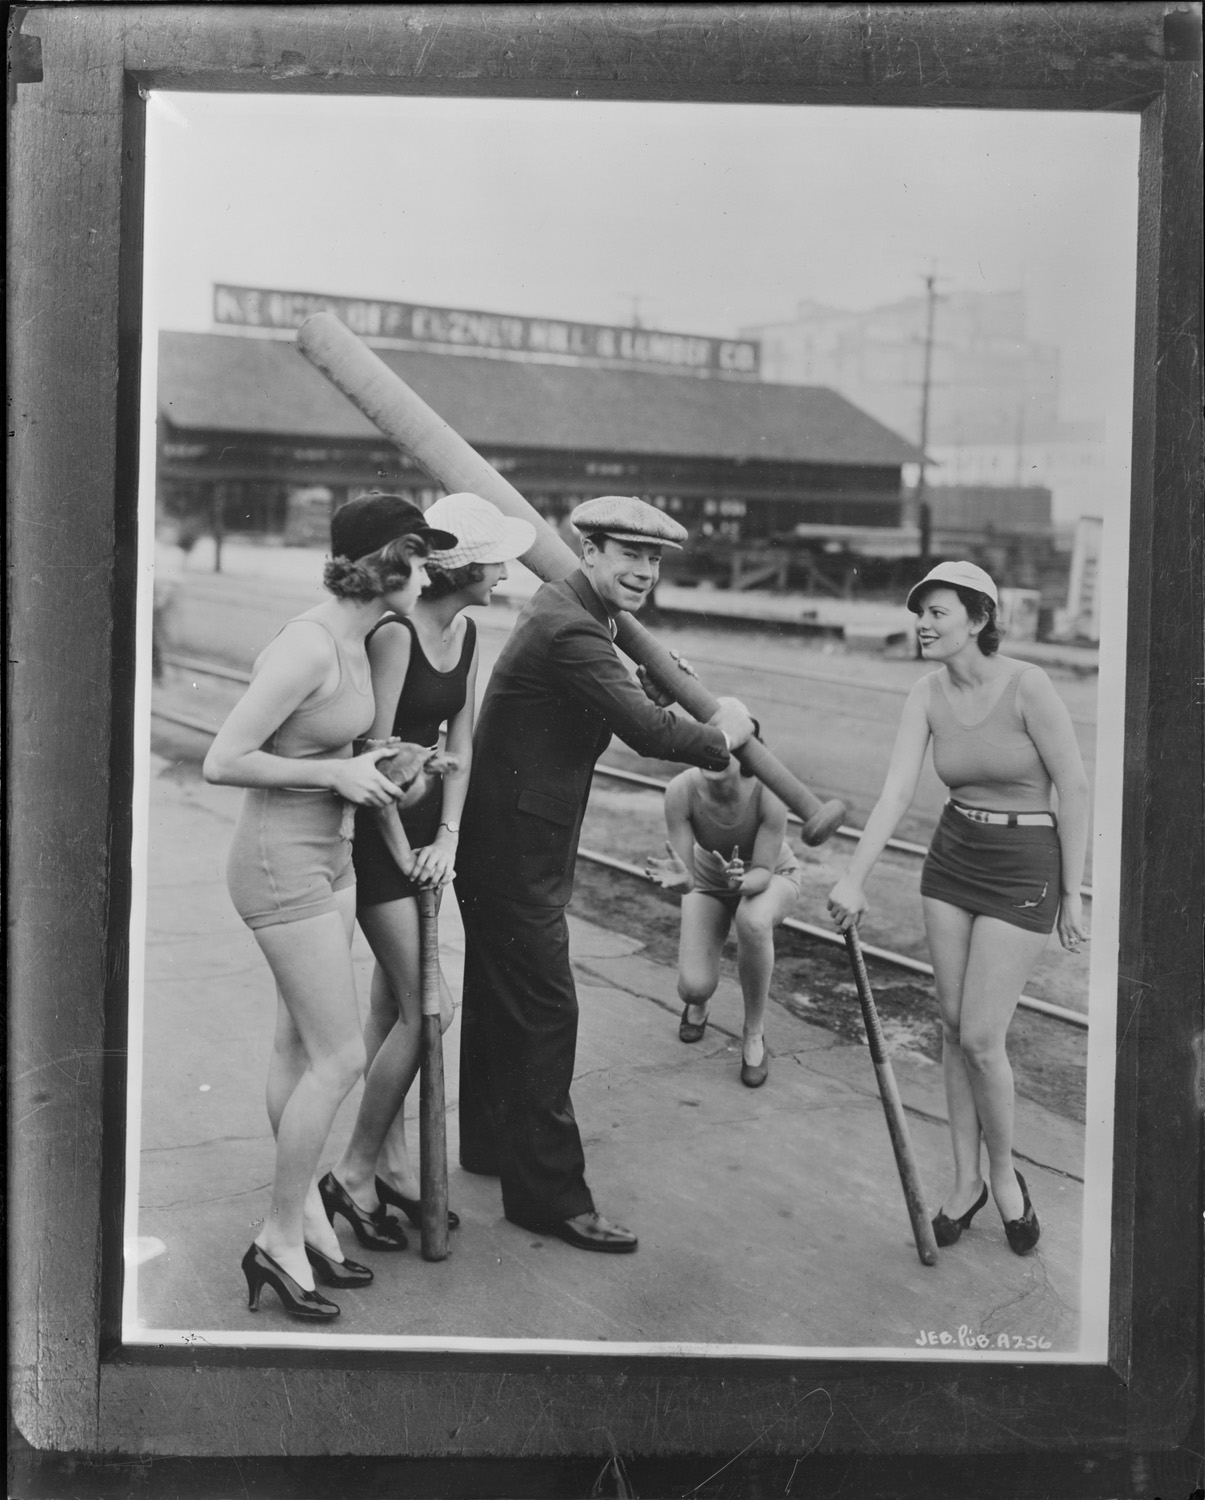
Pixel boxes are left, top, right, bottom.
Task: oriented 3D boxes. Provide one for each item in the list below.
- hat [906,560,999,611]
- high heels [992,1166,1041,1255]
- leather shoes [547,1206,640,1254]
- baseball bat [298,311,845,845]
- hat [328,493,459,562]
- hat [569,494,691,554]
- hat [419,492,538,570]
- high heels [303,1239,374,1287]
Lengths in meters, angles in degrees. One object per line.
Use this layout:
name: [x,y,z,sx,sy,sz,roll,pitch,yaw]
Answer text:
hat: [0.689,-0.331,4.086,0.110,0.070,0.090,28,-8,3]
high heels: [0.781,0.848,3.888,0.030,0.135,0.040,16,-27,-42]
leather shoes: [-0.007,0.908,3.982,0.135,0.070,0.069,1,2,24]
baseball bat: [-0.088,-0.358,4.058,1.159,0.098,0.102,50,17,0]
hat: [-0.401,-0.424,3.916,0.155,0.115,0.118,-19,12,-18]
hat: [0.051,-0.436,4.040,0.129,0.058,0.117,14,3,37]
hat: [-0.228,-0.416,3.987,0.162,0.148,0.071,-2,-26,0]
high heels: [-0.488,0.960,3.922,0.149,0.079,0.058,13,2,2]
